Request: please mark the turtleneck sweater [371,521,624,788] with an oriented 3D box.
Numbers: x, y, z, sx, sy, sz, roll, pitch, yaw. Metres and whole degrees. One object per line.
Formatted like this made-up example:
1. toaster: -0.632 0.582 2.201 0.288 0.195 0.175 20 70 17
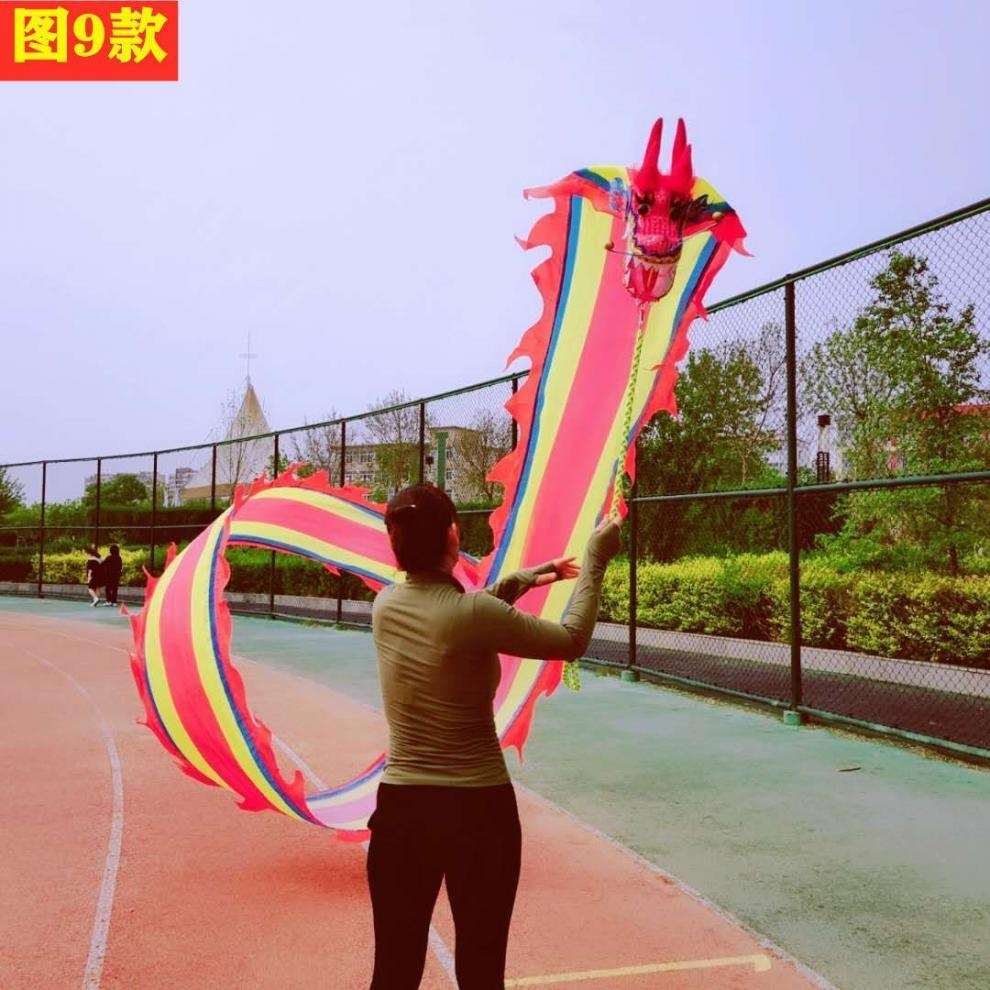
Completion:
1. turtleneck sweater: -0.115 0.408 2.788 0.590 1.057 0.567 2 1 -36
